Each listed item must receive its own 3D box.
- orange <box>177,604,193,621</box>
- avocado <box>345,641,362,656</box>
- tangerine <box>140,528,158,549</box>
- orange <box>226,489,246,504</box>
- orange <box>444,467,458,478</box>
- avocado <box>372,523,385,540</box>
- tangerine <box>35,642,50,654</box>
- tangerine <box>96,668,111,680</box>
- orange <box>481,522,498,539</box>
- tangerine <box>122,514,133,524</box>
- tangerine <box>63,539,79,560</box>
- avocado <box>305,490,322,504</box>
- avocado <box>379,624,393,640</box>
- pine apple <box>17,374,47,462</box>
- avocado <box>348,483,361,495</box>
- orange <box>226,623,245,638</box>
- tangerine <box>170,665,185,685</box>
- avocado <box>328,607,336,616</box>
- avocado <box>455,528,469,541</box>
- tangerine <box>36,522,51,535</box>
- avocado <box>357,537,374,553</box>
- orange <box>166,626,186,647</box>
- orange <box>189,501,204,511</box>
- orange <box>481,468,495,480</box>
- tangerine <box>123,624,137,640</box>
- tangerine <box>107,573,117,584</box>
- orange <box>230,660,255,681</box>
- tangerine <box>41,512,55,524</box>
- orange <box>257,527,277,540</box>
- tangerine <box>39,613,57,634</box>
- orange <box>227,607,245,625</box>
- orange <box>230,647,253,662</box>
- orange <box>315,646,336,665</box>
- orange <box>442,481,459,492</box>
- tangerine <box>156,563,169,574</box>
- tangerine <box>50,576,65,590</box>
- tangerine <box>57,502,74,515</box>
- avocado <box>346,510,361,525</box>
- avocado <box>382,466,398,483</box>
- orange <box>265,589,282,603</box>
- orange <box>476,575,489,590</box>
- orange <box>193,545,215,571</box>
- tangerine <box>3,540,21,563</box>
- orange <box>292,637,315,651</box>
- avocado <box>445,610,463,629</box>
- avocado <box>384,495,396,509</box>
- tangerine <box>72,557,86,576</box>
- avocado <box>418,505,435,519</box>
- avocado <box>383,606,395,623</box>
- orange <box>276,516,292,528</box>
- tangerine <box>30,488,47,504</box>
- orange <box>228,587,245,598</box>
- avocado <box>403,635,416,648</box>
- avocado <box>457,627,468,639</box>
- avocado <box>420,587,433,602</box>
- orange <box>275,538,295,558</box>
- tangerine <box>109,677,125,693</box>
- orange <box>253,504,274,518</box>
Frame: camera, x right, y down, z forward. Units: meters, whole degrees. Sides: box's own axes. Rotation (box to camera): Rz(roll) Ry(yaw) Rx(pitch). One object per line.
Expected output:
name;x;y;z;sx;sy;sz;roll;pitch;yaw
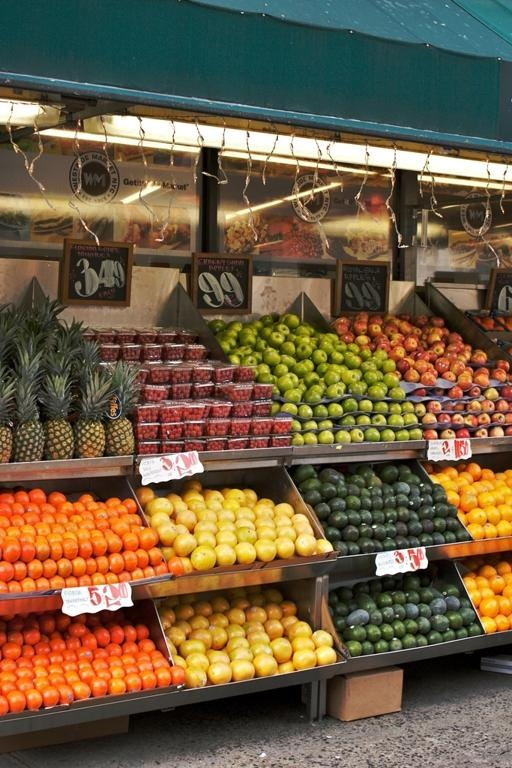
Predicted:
orange;-0.313;1.023;2.610;0.049;0.049;0.050;36;55;11
avocado;0.459;1.222;2.697;0.062;0.071;0.064;20;11;2
tangerine;-0.426;0.615;2.324;0.061;0.081;0.079;1;-10;3
orange;-0.097;0.551;2.886;0.076;0.065;0.061;5;37;21
orange;1.213;0.540;3.609;0.066;0.079;0.067;1;12;13
avocado;0.625;0.749;2.963;0.067;0.079;0.067;0;-11;1
tangerine;-0.776;0.961;2.125;0.053;0.027;0.049;7;-11;-29
tangerine;-0.539;1.023;2.061;0.037;0.044;0.036;0;-10;-11
orange;1.331;0.829;3.294;0.079;0.076;0.075;-32;34;-28
tangerine;-0.525;0.548;2.378;0.037;0.033;0.070;4;-10;-13
tangerine;-0.656;0.581;2.063;0.061;0.082;0.061;2;-5;-26
avocado;0.292;0.567;2.923;0.063;0.063;0.075;24;53;24
avocado;0.633;1.195;2.827;0.053;0.069;0.051;-1;-12;-6
pine apple;-0.837;0.132;2.163;0.091;0.317;0.195;0;-11;7
avocado;0.514;0.554;3.063;0.050;0.059;0.049;-38;-55;24
orange;-0.087;1.107;2.608;0.050;0.052;0.054;-30;8;20
tangerine;-0.290;1.092;2.177;0.053;0.060;0.045;3;-10;-8
avocado;0.372;1.097;2.820;0.017;0.031;0.031;-19;-8;5
avocado;1.127;0.818;3.172;0.059;0.059;0.032;-24;1;-14
tangerine;-0.775;0.525;2.133;0.039;0.038;0.037;-26;5;-9
avocado;0.553;0.778;2.892;0.072;0.081;0.064;15;15;32
orange;-0.336;1.054;2.468;0.064;0.067;0.070;-26;39;10
orange;-0.267;0.565;2.712;0.056;0.046;0.073;-5;-12;32
orange;1.501;0.580;3.775;0.069;0.066;0.067;-13;-17;-21
tangerine;-0.503;1.000;2.340;0.046;0.055;0.046;-30;17;6
tangerine;-0.527;0.711;2.136;0.032;0.037;0.031;-21;15;-27
orange;-0.053;1.157;2.355;0.078;0.077;0.074;5;-17;-17
tangerine;-0.798;0.513;2.240;0.034;0.033;0.041;-3;39;-43
orange;0.051;0.659;2.585;0.057;0.053;0.056;14;-36;-8
tangerine;-0.801;0.928;2.252;0.043;0.068;0.071;-7;-13;38
orange;-0.086;1.076;2.704;0.058;0.069;0.061;-19;-5;-31
orange;-0.065;1.131;2.456;0.072;0.051;0.055;-2;12;4
orange;0.311;1.198;2.568;0.071;0.069;0.070;-13;43;1
orange;1.146;0.596;3.423;0.062;0.062;0.063;6;21;17
tangerine;-0.363;0.720;2.269;0.035;0.031;0.035;24;8;-10
tangerine;-0.682;0.682;2.000;0.037;0.037;0.037;14;13;42
tangerine;-0.763;0.505;2.354;0.060;0.051;0.060;7;-12;-28
avocado;0.494;0.662;2.938;0.065;0.069;0.068;5;-5;2
avocado;0.763;0.510;3.349;0.090;0.102;0.083;5;4;31
orange;0.097;1.048;2.904;0.053;0.049;0.051;2;20;-16
orange;1.329;1.153;3.378;0.053;0.066;0.057;-4;-12;-2
orange;-0.212;0.709;2.371;0.098;0.096;0.073;2;-10;-5
tangerine;-0.808;0.553;1.929;0.064;0.064;0.060;-4;5;-19
orange;0.214;1.156;2.597;0.069;0.051;0.052;4;4;14
avocado;1.043;1.227;3.034;0.066;0.067;0.087;-7;8;-6
avocado;0.726;0.629;3.133;0.058;0.070;0.057;0;0;4
tangerine;-0.627;0.646;2.071;0.055;0.067;0.055;-1;-9;6
avocado;0.928;0.690;3.147;0.075;0.059;0.057;-32;-12;17
avocado;0.662;1.143;2.894;0.062;0.075;0.063;5;-23;0
orange;0.130;0.634;2.701;0.074;0.046;0.095;1;-10;2
tangerine;-0.892;0.458;2.398;0.055;0.054;0.054;3;2;-8
orange;-0.092;1.024;2.842;0.058;0.058;0.056;-13;-23;2
avocado;0.758;1.264;2.864;0.056;0.067;0.055;0;2;9
avocado;1.084;1.298;3.046;0.048;0.049;0.049;2;-8;-44
avocado;0.914;1.119;3.113;0.053;0.055;0.052;-4;14;-19
orange;0.131;0.718;2.604;0.080;0.079;0.078;14;4;-11
tangerine;-0.474;1.039;2.017;0.045;0.044;0.044;-21;-17;-7
orange;0.042;0.604;2.816;0.057;0.058;0.060;-3;7;-20
